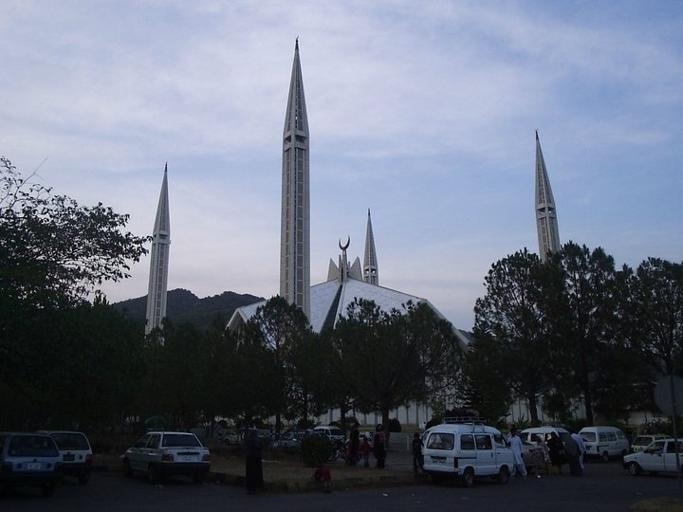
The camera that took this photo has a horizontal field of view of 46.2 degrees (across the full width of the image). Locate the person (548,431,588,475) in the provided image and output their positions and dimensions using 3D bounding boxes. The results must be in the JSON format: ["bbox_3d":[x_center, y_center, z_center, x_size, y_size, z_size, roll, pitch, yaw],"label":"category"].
[{"bbox_3d":[10.191,8.969,36.238,1.420,1.928,1.167,-8,-17,28],"label":"person"}]

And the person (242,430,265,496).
[{"bbox_3d":[-3.246,7.756,30.170,0.659,2.313,0.990,2,-14,-8],"label":"person"}]

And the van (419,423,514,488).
[{"bbox_3d":[5.118,8.025,32.631,3.417,2.108,2.040,6,-11,-34],"label":"van"}]
